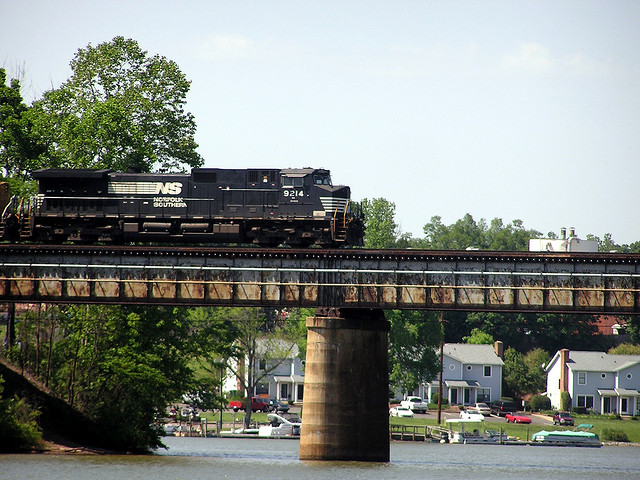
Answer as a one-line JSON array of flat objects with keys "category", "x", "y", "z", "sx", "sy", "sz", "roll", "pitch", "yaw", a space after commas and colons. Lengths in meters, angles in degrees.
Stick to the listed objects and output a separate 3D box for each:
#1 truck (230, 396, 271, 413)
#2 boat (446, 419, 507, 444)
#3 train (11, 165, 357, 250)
[{"category": "truck", "x": -7.522, "y": 17.365, "z": 153.657, "sx": 3.078, "sy": 1.650, "sz": 4.836, "roll": 5, "pitch": -9, "yaw": -33}, {"category": "boat", "x": 15.024, "y": 18.660, "z": 142.646, "sx": 5.549, "sy": 2.430, "sz": 16.160, "roll": -1, "pitch": -8, "yaw": 4}, {"category": "train", "x": -6.143, "y": -2.515, "z": 114.220, "sx": 34.184, "sy": 9.272, "sz": 9.142, "roll": 0, "pitch": 1, "yaw": 7}]
